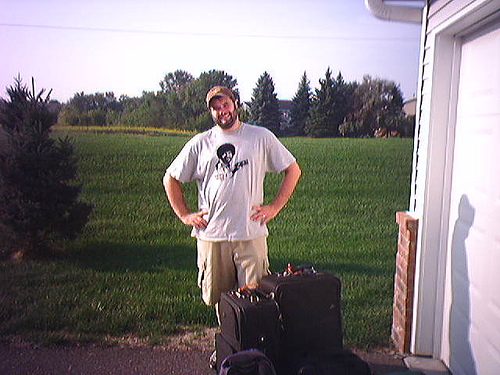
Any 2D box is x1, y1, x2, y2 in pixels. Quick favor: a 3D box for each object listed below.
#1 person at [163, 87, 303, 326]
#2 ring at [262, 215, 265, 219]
[{"bbox_3d":[-0.148,0.411,5.499,1.216,3.047,0.826,-2,17,2],"label":"person"},{"bbox_3d":[0.132,0.293,5.227,0.019,0.044,0.021,-12,19,-40],"label":"ring"}]
